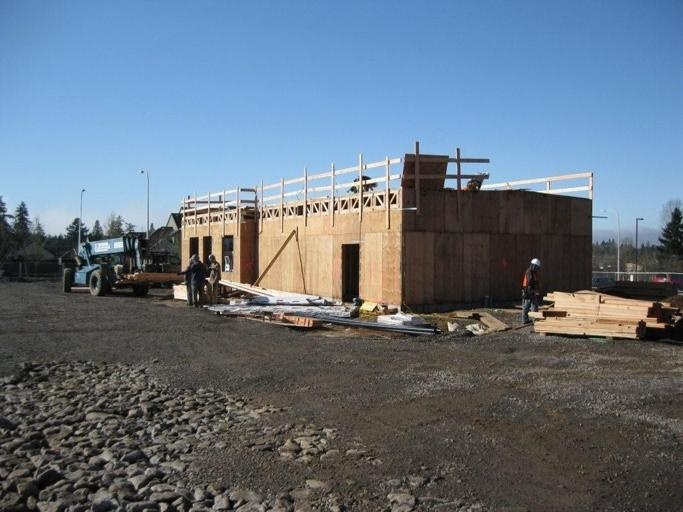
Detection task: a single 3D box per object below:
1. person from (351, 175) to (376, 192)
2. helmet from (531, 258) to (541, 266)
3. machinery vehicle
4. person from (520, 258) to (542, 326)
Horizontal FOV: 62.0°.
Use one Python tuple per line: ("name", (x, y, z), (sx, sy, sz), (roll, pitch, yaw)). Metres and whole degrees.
("person", (0.775, -2.594, 20.633), (0.863, 0.594, 1.818), (0, 4, 2))
("helmet", (6.125, 0.196, 18.021), (0.249, 0.249, 0.237), (-3, 5, -12))
("machinery vehicle", (-11.823, 0.520, 29.090), (5.491, 2.927, 2.314), (-2, -5, 35))
("person", (5.409, 1.033, 16.290), (0.446, 1.796, 1.192), (1, 3, 17))
